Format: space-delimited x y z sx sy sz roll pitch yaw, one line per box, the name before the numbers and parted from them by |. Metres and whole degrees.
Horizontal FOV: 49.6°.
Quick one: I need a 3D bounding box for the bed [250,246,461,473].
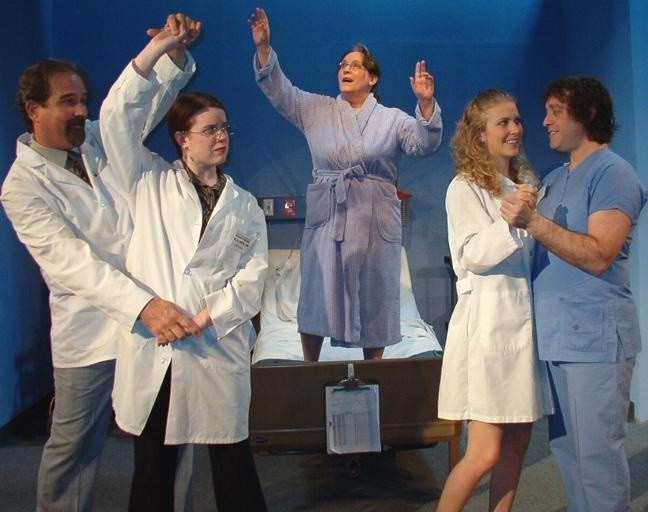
bed | 0.216 0.552 4.153 1.062 1.086 1.897 -3 6 3
